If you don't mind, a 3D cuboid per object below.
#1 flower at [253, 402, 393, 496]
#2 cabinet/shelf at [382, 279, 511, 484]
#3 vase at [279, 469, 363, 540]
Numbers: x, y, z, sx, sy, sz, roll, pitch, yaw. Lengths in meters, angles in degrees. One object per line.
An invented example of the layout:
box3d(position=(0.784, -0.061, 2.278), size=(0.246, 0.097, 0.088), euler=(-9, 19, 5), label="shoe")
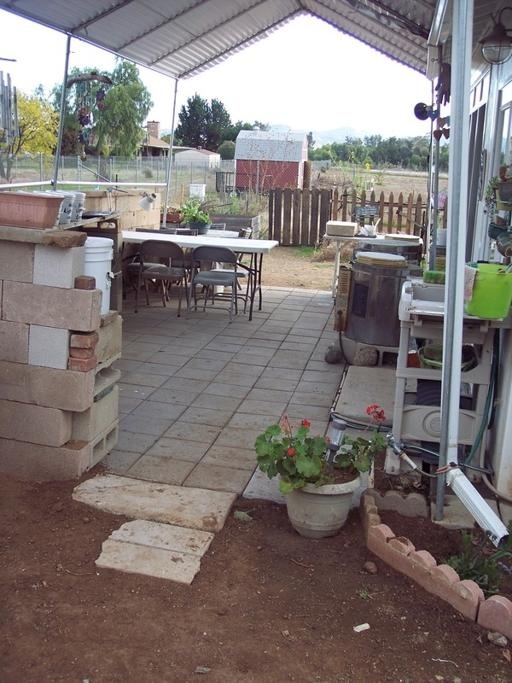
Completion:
box3d(position=(0.332, 0.485, 2.371), size=(0.593, 0.255, 0.399), euler=(-7, 12, -44), label="flower")
box3d(position=(1.058, 0.213, 2.908), size=(0.574, 1.082, 1.276), euler=(6, 8, 15), label="cabinet/shelf")
box3d(position=(0.285, 0.698, 2.298), size=(0.298, 0.210, 0.295), euler=(4, 8, 36), label="vase")
